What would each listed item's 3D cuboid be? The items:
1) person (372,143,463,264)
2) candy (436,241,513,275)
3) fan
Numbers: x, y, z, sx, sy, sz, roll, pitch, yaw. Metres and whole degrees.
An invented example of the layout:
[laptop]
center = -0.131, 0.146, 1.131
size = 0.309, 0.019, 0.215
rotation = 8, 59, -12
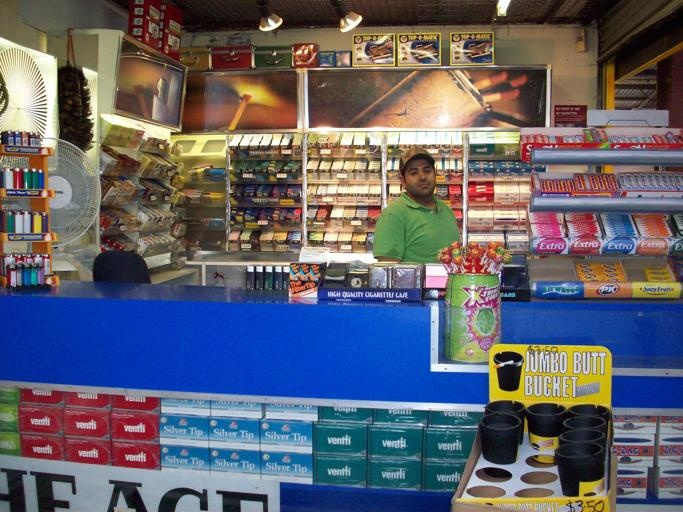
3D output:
[person]
center = 0.462, -0.337, 3.644
size = 0.602, 0.678, 0.427
rotation = 1, 10, -11
[candy]
center = 0.537, 0.008, 2.367
size = 0.283, 0.129, 0.134
rotation = 0, 0, 8
[fan]
center = -1.816, -0.277, 4.124
size = 0.868, 0.970, 0.445
rotation = 3, 2, 29
